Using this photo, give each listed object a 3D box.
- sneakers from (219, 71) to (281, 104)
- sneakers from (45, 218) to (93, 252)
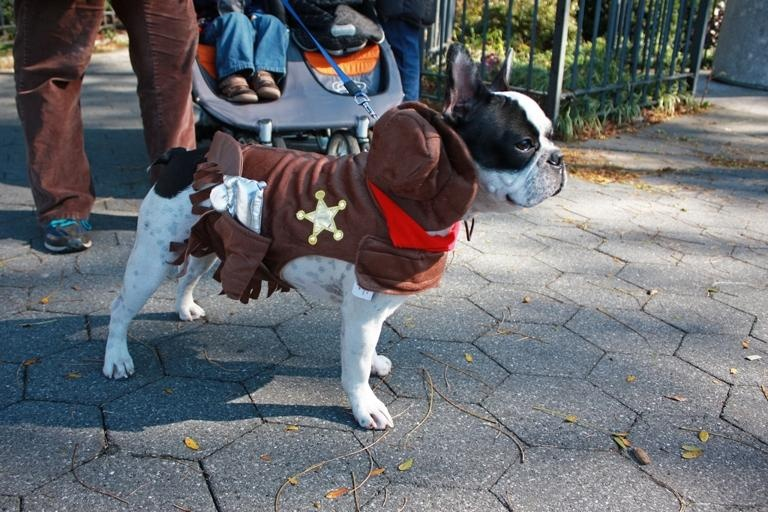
[{"bbox_3d":[-0.982,-1.216,4.743,0.276,0.130,0.361,-15,29,-31],"label":"sneakers"},{"bbox_3d":[-2.095,-0.130,4.268,0.343,0.150,0.156,0,6,36],"label":"sneakers"}]
